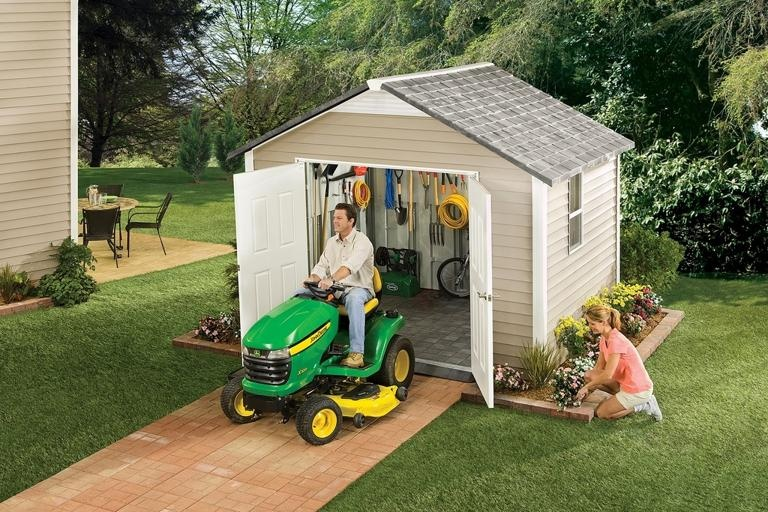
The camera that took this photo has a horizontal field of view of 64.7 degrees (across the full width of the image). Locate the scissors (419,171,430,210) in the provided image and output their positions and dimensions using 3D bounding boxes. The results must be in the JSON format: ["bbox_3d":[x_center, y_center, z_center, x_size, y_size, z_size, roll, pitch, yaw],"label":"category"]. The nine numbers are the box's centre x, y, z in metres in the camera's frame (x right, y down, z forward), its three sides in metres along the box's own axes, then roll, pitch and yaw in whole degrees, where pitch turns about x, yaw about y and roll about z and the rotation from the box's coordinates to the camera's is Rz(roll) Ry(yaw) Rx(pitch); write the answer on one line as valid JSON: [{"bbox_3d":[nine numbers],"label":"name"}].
[{"bbox_3d":[0.904,-1.472,13.217,0.200,0.741,0.083,1,9,9],"label":"scissors"}]

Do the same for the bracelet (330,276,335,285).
[{"bbox_3d":[-0.734,0.339,8.542,0.069,0.106,0.109,0,36,4],"label":"bracelet"}]

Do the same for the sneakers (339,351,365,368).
[{"bbox_3d":[-0.419,1.402,8.187,0.169,0.145,0.346,-3,2,18],"label":"sneakers"}]

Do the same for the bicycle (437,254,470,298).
[{"bbox_3d":[1.520,0.437,13.066,0.883,0.901,0.414,-3,6,29],"label":"bicycle"}]

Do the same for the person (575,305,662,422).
[{"bbox_3d":[3.237,1.441,8.255,1.014,1.555,0.533,6,12,23],"label":"person"}]

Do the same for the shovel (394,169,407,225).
[{"bbox_3d":[0.327,-1.288,13.383,0.282,1.211,0.355,-6,13,-34],"label":"shovel"}]
